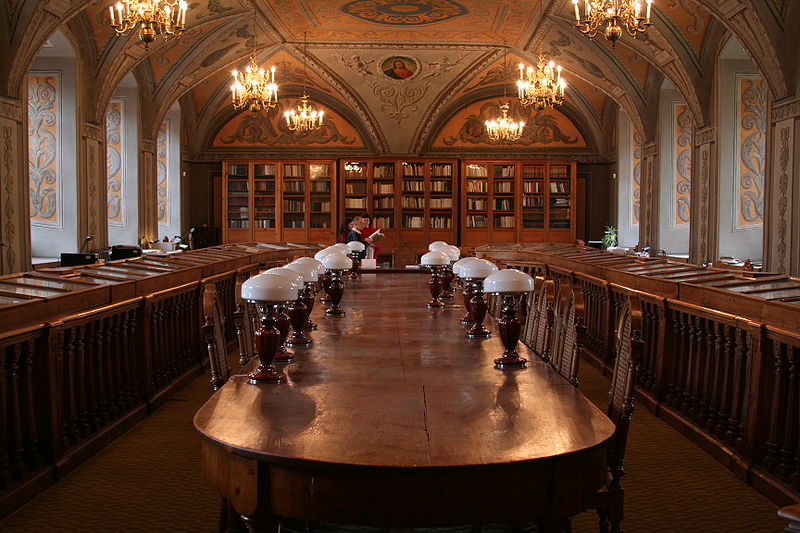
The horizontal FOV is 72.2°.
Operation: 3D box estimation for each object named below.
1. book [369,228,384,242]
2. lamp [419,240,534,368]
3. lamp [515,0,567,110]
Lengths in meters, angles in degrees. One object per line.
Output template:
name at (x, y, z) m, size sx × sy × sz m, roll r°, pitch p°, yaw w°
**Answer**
book at (-0.371, -0.445, 8.588) m, size 0.178 × 0.188 × 0.441 m, roll 1°, pitch 10°, yaw -5°
lamp at (0.391, 0.160, 3.521) m, size 0.353 × 0.564 × 1.510 m, roll -1°, pitch 8°, yaw -6°
lamp at (2.214, -2.879, 8.513) m, size 0.618 × 0.961 × 0.612 m, roll 3°, pitch 3°, yaw 42°
